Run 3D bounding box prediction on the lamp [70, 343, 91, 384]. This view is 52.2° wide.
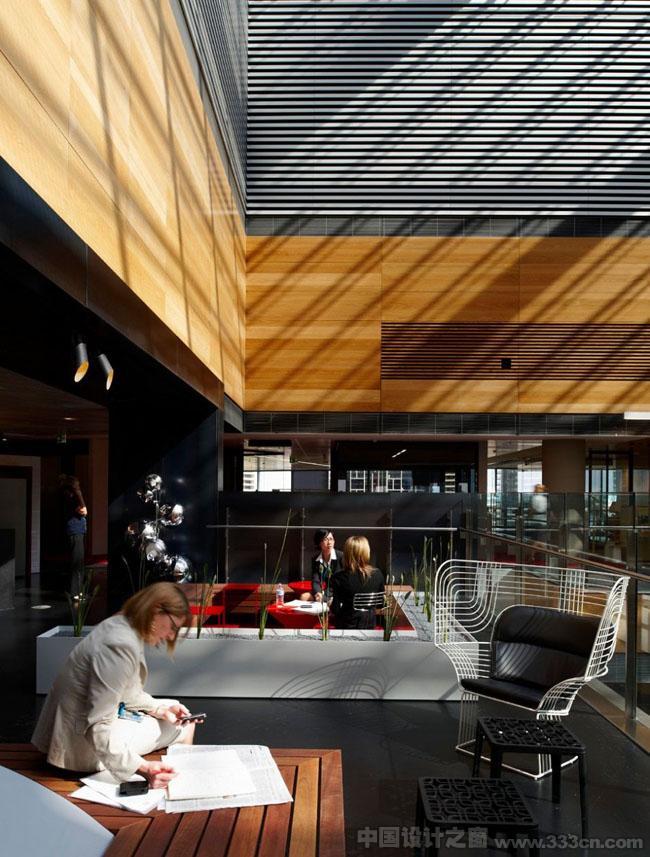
[{"bbox_3d":[-1.409,-0.390,3.819,0.082,0.131,0.356,23,19,-24],"label":"lamp"}]

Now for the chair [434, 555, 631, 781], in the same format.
[{"bbox_3d":[1.054,1.246,3.458,0.558,1.006,0.977,14,-11,-41],"label":"chair"}]
